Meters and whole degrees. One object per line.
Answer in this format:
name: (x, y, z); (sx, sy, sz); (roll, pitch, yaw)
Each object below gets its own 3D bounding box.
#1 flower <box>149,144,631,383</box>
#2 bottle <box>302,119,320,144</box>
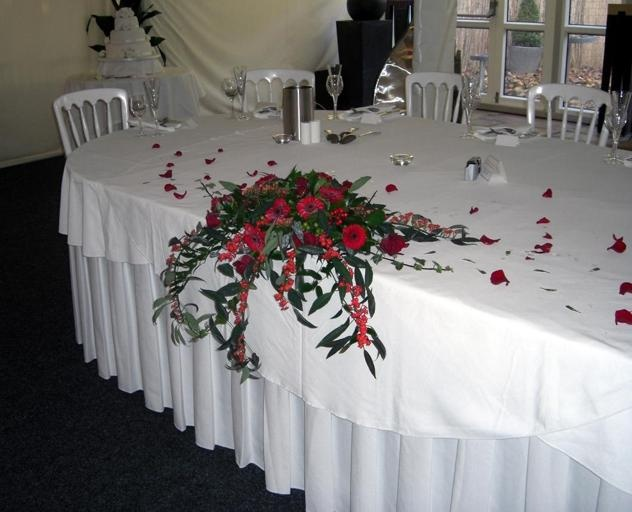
flower: (0.106, 0.143, 1.345); (1.030, 0.465, 0.659); (0, 32, 5)
bottle: (-0.014, -0.576, 2.364); (0.090, 0.114, 0.086); (0, 20, 0)
